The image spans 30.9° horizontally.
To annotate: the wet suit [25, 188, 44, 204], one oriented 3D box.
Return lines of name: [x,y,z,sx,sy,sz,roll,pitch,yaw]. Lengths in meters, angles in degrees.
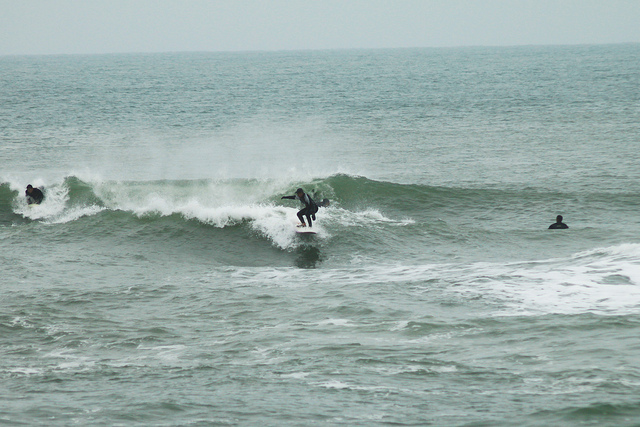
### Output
wet suit: [-14.251,-0.907,57.457,0.949,0.502,0.553,6,55,3]

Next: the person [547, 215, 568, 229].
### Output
person: [11.916,0.379,55.603,0.934,0.646,0.438,-2,18,6]

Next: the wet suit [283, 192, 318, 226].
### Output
wet suit: [-0.459,-0.248,53.988,1.284,1.753,0.896,-10,19,-15]
